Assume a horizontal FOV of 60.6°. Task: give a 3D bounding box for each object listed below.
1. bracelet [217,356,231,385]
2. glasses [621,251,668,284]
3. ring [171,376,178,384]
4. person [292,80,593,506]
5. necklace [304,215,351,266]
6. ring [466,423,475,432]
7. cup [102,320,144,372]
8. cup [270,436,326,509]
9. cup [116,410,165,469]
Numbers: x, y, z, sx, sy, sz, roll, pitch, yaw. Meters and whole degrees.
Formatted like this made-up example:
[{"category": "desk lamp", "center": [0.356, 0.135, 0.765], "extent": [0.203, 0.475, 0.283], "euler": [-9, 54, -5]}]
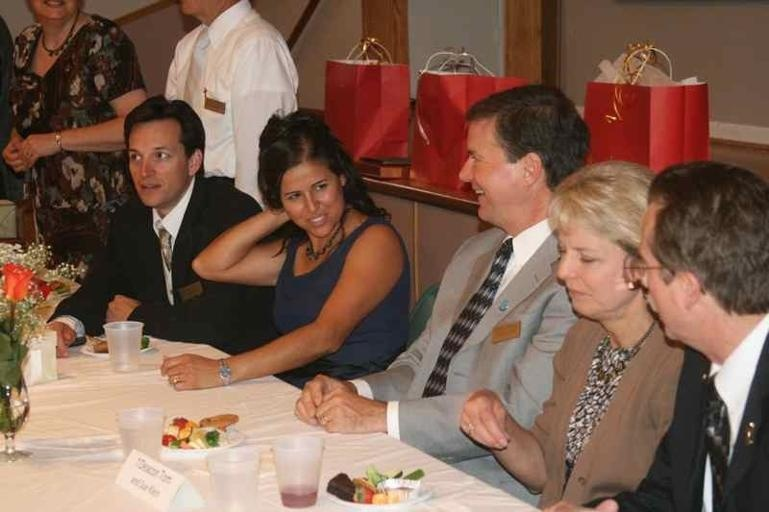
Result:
[{"category": "bracelet", "center": [-0.517, 0.380, 2.128], "extent": [0.042, 0.075, 0.070], "euler": [-9, -16, -15]}, {"category": "glasses", "center": [0.675, 0.033, 1.737], "extent": [0.080, 0.078, 0.065], "euler": [8, 6, 23]}, {"category": "ring", "center": [-0.661, 0.396, 2.080], "extent": [0.018, 0.024, 0.017], "euler": [-1, -12, 0]}, {"category": "person", "center": [0.240, -0.048, 2.734], "extent": [1.180, 1.731, 1.158], "euler": [3, 8, -6]}, {"category": "necklace", "center": [-0.210, -0.065, 2.681], "extent": [0.118, 0.221, 0.056], "euler": [14, -2, 20]}, {"category": "ring", "center": [0.235, 0.478, 1.813], "extent": [0.019, 0.022, 0.024], "euler": [3, 6, 42]}, {"category": "cup", "center": [-0.868, 0.303, 2.197], "extent": [0.142, 0.164, 0.150], "euler": [-1, 0, 0]}, {"category": "cup", "center": [-0.193, 0.485, 1.529], "extent": [0.134, 0.163, 0.143], "euler": [-2, -1, 0]}, {"category": "cup", "center": [-0.599, 0.450, 1.635], "extent": [0.111, 0.128, 0.118], "euler": [0, -2, 0]}]
